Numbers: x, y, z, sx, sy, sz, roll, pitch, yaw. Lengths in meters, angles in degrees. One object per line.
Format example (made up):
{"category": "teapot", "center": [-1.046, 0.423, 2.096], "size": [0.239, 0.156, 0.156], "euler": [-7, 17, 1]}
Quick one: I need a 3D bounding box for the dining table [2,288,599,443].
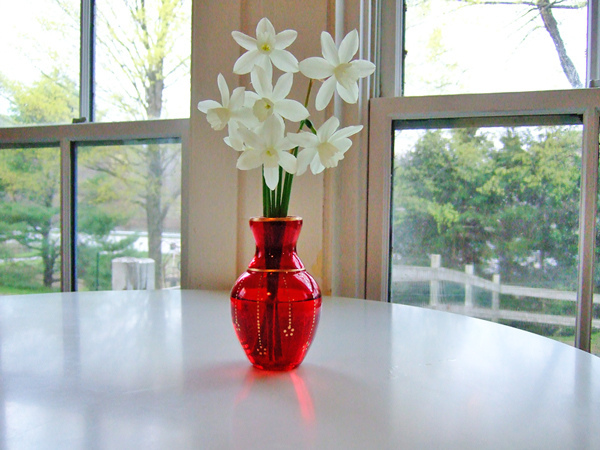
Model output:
{"category": "dining table", "center": [-0.040, 0.306, 1.197], "size": [1.347, 0.259, 0.606], "euler": [2, -2, 0]}

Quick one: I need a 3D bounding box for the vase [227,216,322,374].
{"category": "vase", "center": [-0.048, 0.140, 1.104], "size": [0.173, 0.308, 0.167], "euler": [3, 4, 42]}
